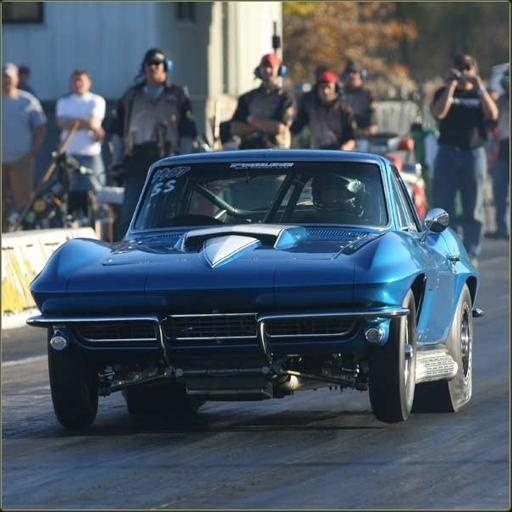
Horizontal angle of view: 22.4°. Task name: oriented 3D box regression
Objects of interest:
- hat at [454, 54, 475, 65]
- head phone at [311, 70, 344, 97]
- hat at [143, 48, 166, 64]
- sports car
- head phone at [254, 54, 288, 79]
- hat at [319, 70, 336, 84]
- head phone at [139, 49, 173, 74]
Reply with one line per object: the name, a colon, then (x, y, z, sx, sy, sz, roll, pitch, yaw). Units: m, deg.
hat: (2.301, -2.167, 14.179, 0.245, 0.111, 0.316, -2, 10, 1)
head phone: (0.800, -1.927, 14.043, 0.252, 0.205, 0.350, 0, -4, 9)
hat: (-0.975, -1.926, 12.445, 0.124, 0.111, 0.203, 0, -10, -3)
sports car: (0.048, 0.228, 7.463, 2.120, 1.563, 2.069, 1, 10, 17)
head phone: (0.137, -1.918, 12.752, 0.318, 0.313, 0.227, 1, 7, 2)
hat: (0.774, -1.939, 13.926, 0.203, 0.134, 0.276, -2, 10, 2)
head phone: (-0.940, -1.867, 12.475, 0.228, 0.262, 0.197, -1, 23, 3)
